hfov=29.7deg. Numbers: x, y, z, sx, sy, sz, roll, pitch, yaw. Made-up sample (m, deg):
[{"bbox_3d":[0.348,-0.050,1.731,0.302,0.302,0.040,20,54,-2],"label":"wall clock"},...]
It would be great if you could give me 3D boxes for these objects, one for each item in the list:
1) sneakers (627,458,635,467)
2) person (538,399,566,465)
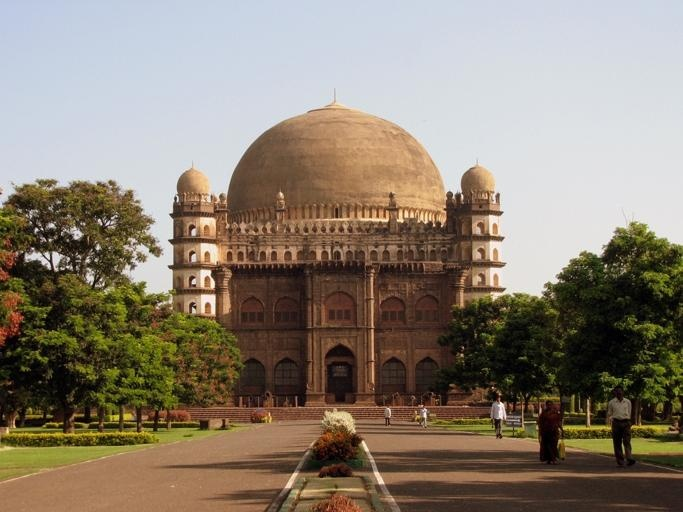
[{"bbox_3d":[9.595,6.886,42.619,0.146,0.283,0.403,4,-43,-6],"label":"sneakers"},{"bbox_3d":[7.177,6.046,44.276,0.802,2.198,0.916,-1,-10,8],"label":"person"}]
